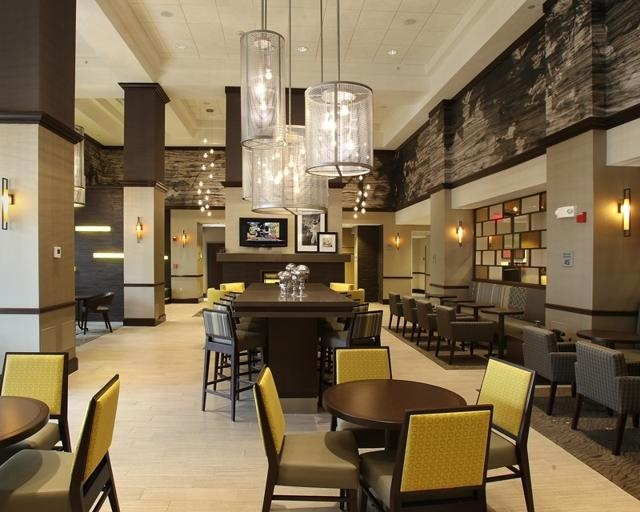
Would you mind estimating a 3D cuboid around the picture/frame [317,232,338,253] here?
[{"bbox_3d":[0.151,-0.324,12.054,0.526,0.507,0.039,2,-9,-13],"label":"picture/frame"}]

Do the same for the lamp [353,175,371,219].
[{"bbox_3d":[1.333,-1.965,15.886,0.568,1.429,0.953,1,-1,5],"label":"lamp"}]

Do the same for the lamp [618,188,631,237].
[{"bbox_3d":[4.114,-0.595,6.629,0.167,0.658,0.108,1,-1,-14],"label":"lamp"}]

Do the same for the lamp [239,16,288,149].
[{"bbox_3d":[-0.524,-1.518,4.424,0.387,1.041,0.273,1,-1,-10],"label":"lamp"}]

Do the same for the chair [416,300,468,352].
[{"bbox_3d":[2.080,1.154,9.142,0.874,1.322,1.027,0,1,-7],"label":"chair"}]

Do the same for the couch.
[{"bbox_3d":[3.692,0.847,9.337,0.735,0.930,2.289,0,-1,-4],"label":"couch"}]

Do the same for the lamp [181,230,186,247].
[{"bbox_3d":[-4.538,-0.595,16.344,0.185,0.516,0.091,1,-1,-19],"label":"lamp"}]

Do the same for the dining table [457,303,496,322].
[{"bbox_3d":[2.872,0.978,8.986,0.425,0.391,0.418,-1,-3,1],"label":"dining table"}]

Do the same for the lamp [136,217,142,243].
[{"bbox_3d":[-4.054,-0.591,11.003,0.136,0.559,0.116,1,-1,-23],"label":"lamp"}]

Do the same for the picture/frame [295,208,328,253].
[{"bbox_3d":[-0.246,-0.531,11.179,0.986,1.279,0.087,1,-3,-9],"label":"picture/frame"}]

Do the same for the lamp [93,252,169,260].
[{"bbox_3d":[-4.460,-0.019,11.373,1.460,0.194,0.098,1,0,-3],"label":"lamp"}]

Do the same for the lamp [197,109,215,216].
[{"bbox_3d":[-3.716,-2.462,16.019,0.458,2.097,0.616,1,-1,-30],"label":"lamp"}]

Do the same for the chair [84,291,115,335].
[{"bbox_3d":[-4.755,1.205,10.519,0.822,1.080,0.879,4,-4,-28],"label":"chair"}]

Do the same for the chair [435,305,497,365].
[{"bbox_3d":[2.486,1.270,8.462,1.116,1.134,0.841,-1,1,-7],"label":"chair"}]

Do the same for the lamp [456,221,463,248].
[{"bbox_3d":[3.241,-0.528,11.431,0.169,0.584,0.085,0,-1,16],"label":"lamp"}]

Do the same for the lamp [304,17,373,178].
[{"bbox_3d":[0.169,-1.178,4.559,0.608,0.803,0.446,1,-1,0],"label":"lamp"}]

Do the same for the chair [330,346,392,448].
[{"bbox_3d":[0.192,1.135,4.098,0.643,0.932,0.672,1,-6,-3],"label":"chair"}]
